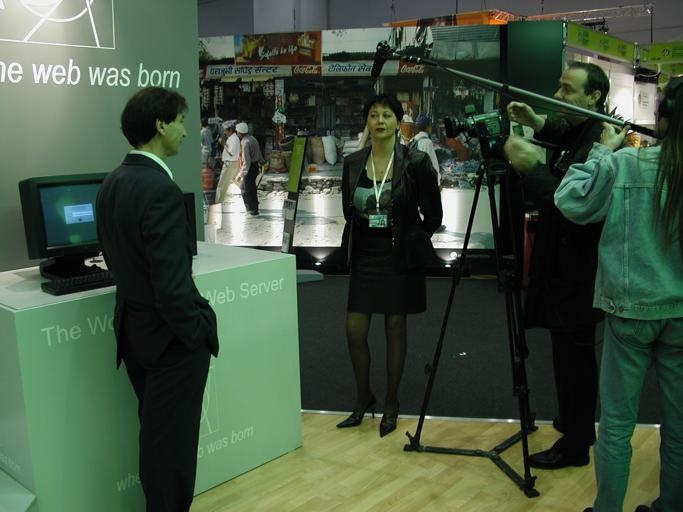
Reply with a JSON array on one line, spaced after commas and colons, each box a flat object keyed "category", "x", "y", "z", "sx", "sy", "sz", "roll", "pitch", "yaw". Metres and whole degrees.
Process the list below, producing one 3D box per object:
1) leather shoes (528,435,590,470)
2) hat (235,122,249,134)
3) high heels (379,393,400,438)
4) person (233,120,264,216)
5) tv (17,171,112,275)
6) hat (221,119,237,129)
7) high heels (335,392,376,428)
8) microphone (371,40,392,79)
[{"category": "leather shoes", "x": 1.194, "y": 1.121, "z": 3.443, "sx": 0.135, "sy": 0.156, "sz": 0.337, "roll": 21, "pitch": 1, "yaw": 44}, {"category": "hat", "x": -1.217, "y": -1.571, "z": 7.337, "sx": 0.117, "sy": 0.084, "sz": 0.146, "roll": -8, "pitch": 42, "yaw": -38}, {"category": "high heels", "x": 0.311, "y": 1.041, "z": 3.893, "sx": 0.103, "sy": 0.102, "sz": 0.326, "roll": -2, "pitch": 22, "yaw": 24}, {"category": "person", "x": -1.129, "y": -1.085, "z": 7.428, "sx": 0.313, "sy": 1.129, "sz": 0.085, "roll": -4, "pitch": 10, "yaw": -13}, {"category": "tv", "x": -1.437, "y": -0.168, "z": 3.196, "sx": 0.423, "sy": 0.483, "sz": 0.261, "roll": -10, "pitch": 1, "yaw": -41}, {"category": "hat", "x": -1.378, "y": -1.629, "z": 7.362, "sx": 0.096, "sy": 0.114, "sz": 0.128, "roll": -4, "pitch": -31, "yaw": 1}, {"category": "high heels", "x": 0.088, "y": 1.027, "z": 3.961, "sx": 0.321, "sy": 0.169, "sz": 0.108, "roll": -13, "pitch": 8, "yaw": -28}, {"category": "microphone", "x": 0.201, "y": -1.029, "z": 3.066, "sx": 0.082, "sy": 0.106, "sz": 0.253, "roll": 16, "pitch": 40, "yaw": -3}]
